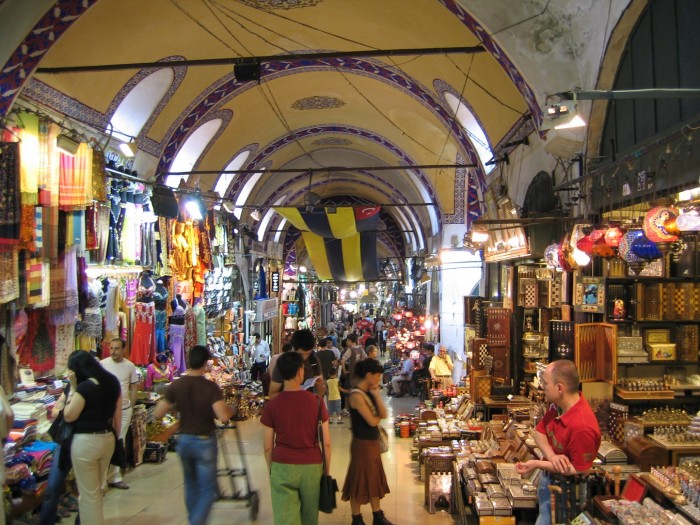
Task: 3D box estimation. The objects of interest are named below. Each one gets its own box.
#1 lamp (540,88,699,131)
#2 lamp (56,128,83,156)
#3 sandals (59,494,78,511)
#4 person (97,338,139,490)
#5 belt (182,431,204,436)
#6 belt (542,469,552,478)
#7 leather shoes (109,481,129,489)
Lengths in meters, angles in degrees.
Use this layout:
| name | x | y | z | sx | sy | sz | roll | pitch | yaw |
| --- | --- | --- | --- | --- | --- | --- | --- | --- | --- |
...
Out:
| name | x | y | z | sx | sy | sz | roll | pitch | yaw |
| --- | --- | --- | --- | --- | --- | --- | --- | --- | --- |
| lamp | 2.165 | -1.280 | 4.603 | 0.986 | 0.272 | 0.658 | 0 | 6 | 7 |
| lamp | -3.240 | -1.395 | 6.674 | 0.226 | 0.335 | 0.504 | 2 | -9 | -23 |
| sandals | -3.068 | 2.616 | 6.340 | 0.130 | 0.033 | 0.121 | 8 | 3 | 30 |
| person | -2.787 | 1.686 | 7.010 | 0.466 | 1.557 | 0.514 | -10 | 24 | -35 |
| belt | -1.377 | 1.490 | 5.076 | 0.156 | 0.032 | 0.018 | -3 | -8 | 10 |
| belt | 1.507 | 1.608 | 4.425 | 0.059 | 0.060 | 0.061 | -2 | 2 | -2 |
| leather shoes | -2.699 | 2.593 | 6.821 | 0.230 | 0.100 | 0.089 | 2 | -4 | 4 |
